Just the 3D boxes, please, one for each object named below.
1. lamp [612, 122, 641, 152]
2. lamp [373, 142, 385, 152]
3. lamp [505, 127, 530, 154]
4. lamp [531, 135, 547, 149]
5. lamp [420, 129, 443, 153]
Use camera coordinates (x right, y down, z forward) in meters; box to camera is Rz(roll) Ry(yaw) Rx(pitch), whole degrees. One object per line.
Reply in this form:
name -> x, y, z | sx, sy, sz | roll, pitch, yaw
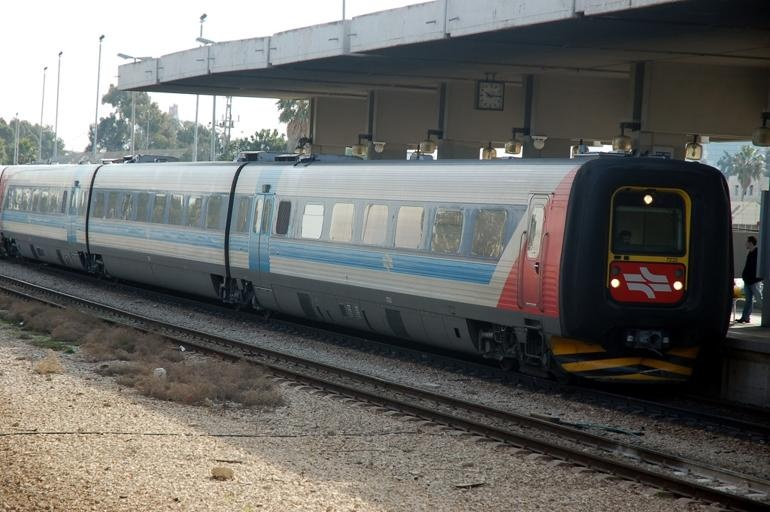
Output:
lamp -> 7.051, -3.473, 20.510 | 0.660, 0.861, 3.436 | 3, 6, 18
lamp -> -0.216, -4.513, 29.350 | 0.469, 0.406, 0.721 | 1, 6, 5
lamp -> 4.658, -4.017, 24.741 | 0.738, 0.950, 2.207 | 2, 6, 9
lamp -> 5.259, -3.847, 23.914 | 0.560, 0.349, 0.417 | 1, 3, -2
lamp -> 1.838, -4.402, 27.123 | 0.846, 0.927, 2.051 | 1, 6, 4
